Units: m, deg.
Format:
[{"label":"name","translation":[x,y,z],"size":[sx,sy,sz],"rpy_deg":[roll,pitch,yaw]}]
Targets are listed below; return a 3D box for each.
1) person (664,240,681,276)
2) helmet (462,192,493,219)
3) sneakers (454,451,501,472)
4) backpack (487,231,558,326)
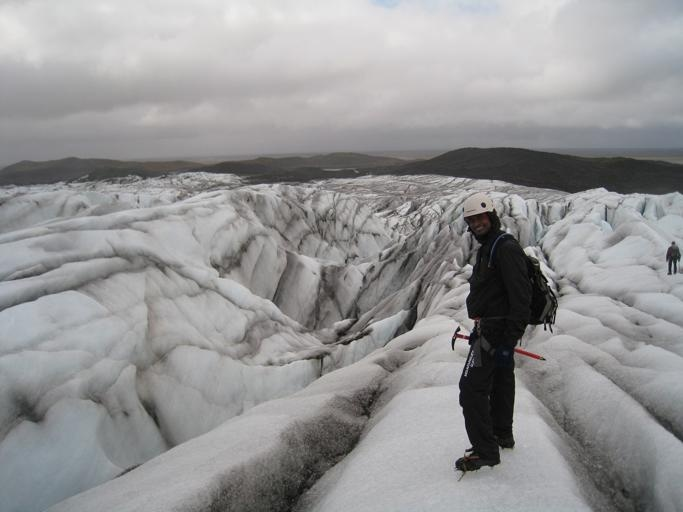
[{"label":"person","translation":[9.524,0.074,11.284],"size":[0.321,0.819,0.808],"rpy_deg":[10,22,39]},{"label":"helmet","translation":[1.571,-0.572,4.454],"size":[0.258,0.182,0.353],"rpy_deg":[-13,2,40]},{"label":"sneakers","translation":[1.469,2.186,4.249],"size":[0.411,0.158,0.244],"rpy_deg":[0,-12,-5]},{"label":"backpack","translation":[1.998,0.271,4.318],"size":[0.648,1.065,0.417],"rpy_deg":[6,20,30]}]
